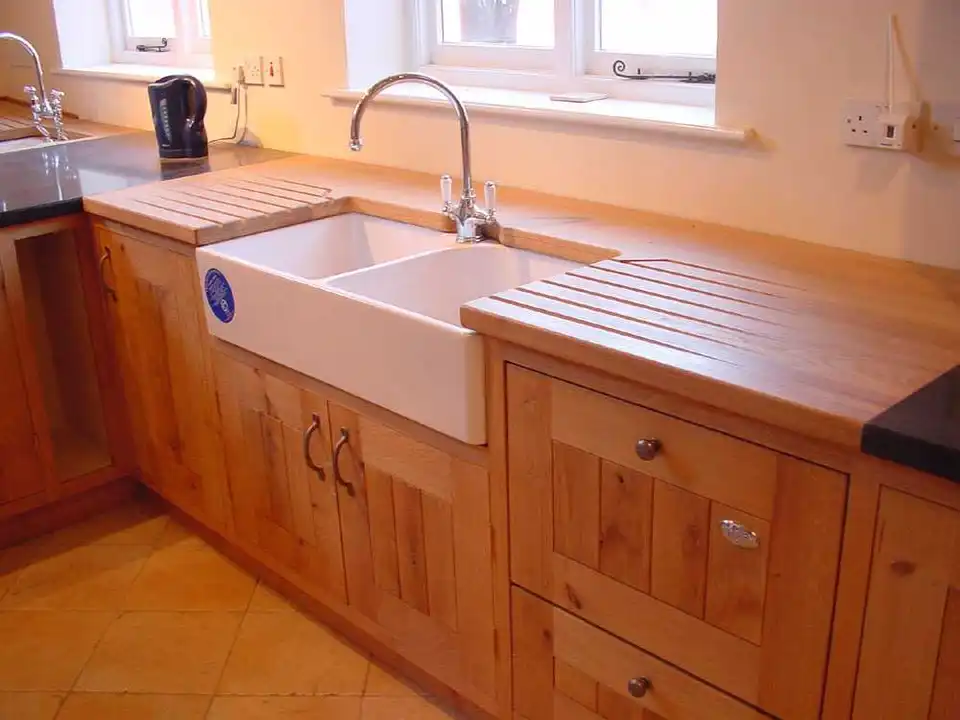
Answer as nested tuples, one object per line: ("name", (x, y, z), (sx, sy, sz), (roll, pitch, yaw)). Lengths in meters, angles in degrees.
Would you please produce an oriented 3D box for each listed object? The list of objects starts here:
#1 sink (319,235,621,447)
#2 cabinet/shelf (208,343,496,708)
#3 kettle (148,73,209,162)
("sink", (-0.077, -0.107, 1.812), (0.503, 0.223, 0.512), (20, 32, 37))
("cabinet/shelf", (-0.299, 0.400, 1.873), (0.738, 0.512, 0.415), (18, 28, 32))
("kettle", (-1.075, -0.868, 2.767), (0.188, 0.281, 0.138), (-9, 23, -17))
